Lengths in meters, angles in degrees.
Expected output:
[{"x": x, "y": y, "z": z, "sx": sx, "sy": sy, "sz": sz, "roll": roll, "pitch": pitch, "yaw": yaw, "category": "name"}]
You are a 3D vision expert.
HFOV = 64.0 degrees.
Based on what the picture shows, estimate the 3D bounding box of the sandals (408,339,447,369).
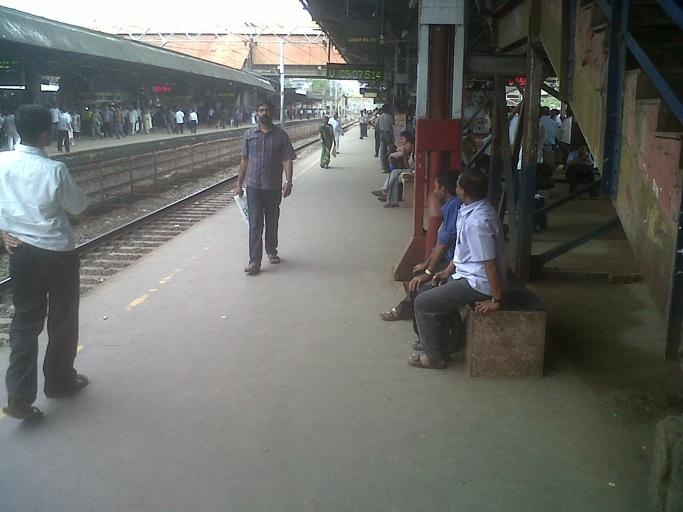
[{"x": 0.759, "y": 0.856, "z": 4.802, "sx": 0.300, "sy": 0.127, "sz": 0.209, "roll": 3, "pitch": 17, "yaw": 6, "category": "sandals"}]

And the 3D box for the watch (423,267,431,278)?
[{"x": 0.824, "y": 0.155, "z": 5.241, "sx": 0.045, "sy": 0.067, "sz": 0.072, "roll": -25, "pitch": 58, "yaw": -31, "category": "watch"}]

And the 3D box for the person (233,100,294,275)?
[{"x": -1.046, "y": -0.936, "z": 7.408, "sx": 0.807, "sy": 2.207, "sz": 0.621, "roll": -8, "pitch": 15, "yaw": -30, "category": "person"}]

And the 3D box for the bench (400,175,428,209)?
[{"x": 1.609, "y": -1.390, "z": 12.118, "sx": 0.547, "sy": 0.675, "sz": 0.476, "roll": 3, "pitch": 6, "yaw": 17, "category": "bench"}]

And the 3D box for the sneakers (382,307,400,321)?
[{"x": 0.524, "y": 0.626, "z": 5.831, "sx": 0.172, "sy": 0.083, "sz": 0.093, "roll": 1, "pitch": 7, "yaw": -4, "category": "sneakers"}]

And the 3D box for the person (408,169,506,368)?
[{"x": 0.985, "y": 0.114, "z": 4.788, "sx": 0.757, "sy": 1.684, "sz": 0.663, "roll": 0, "pitch": 3, "yaw": 18, "category": "person"}]

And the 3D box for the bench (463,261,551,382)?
[{"x": 1.498, "y": 0.457, "z": 5.078, "sx": 0.620, "sy": 0.664, "sz": 1.314, "roll": -2, "pitch": 24, "yaw": 12, "category": "bench"}]

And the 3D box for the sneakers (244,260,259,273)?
[{"x": -1.181, "y": 0.147, "z": 7.280, "sx": 0.211, "sy": 0.165, "sz": 0.175, "roll": -4, "pitch": 15, "yaw": -15, "category": "sneakers"}]
